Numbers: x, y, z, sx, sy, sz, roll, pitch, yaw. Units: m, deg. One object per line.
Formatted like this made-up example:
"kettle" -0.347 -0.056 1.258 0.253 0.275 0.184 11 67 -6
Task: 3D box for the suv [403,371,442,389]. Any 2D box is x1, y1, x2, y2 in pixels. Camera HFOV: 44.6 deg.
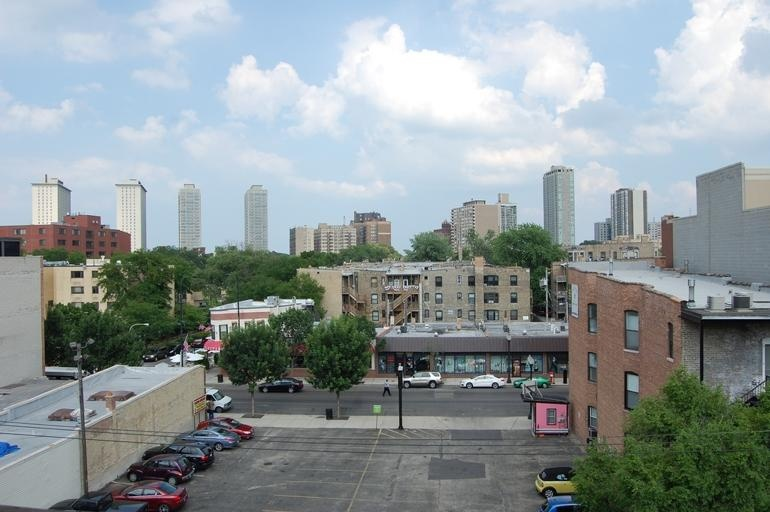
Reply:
"suv" 4.333 13.414 103.969 3.509 1.471 1.801 2 -7 3

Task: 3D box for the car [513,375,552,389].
"car" 16.272 13.270 102.589 4.096 1.479 3.793 1 13 9

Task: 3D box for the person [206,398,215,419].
"person" -17.627 14.835 94.665 0.785 1.526 2.207 -3 13 -11

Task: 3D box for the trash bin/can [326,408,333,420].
"trash bin/can" -5.436 15.203 92.392 0.776 1.555 0.807 0 -1 2

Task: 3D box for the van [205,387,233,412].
"van" -17.346 14.412 95.845 2.781 1.462 1.749 0 2 19
